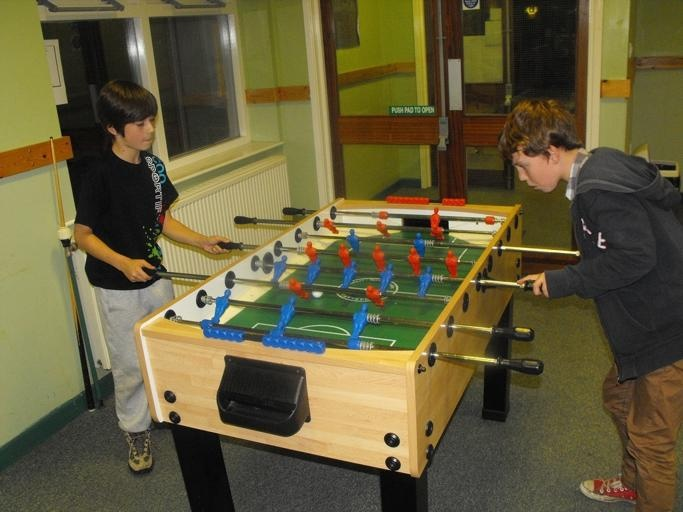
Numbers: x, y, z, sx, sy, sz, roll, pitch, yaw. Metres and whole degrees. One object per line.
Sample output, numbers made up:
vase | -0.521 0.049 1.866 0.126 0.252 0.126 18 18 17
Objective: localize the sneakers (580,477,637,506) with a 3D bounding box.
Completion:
sneakers | 1.214 1.076 2.479 0.248 0.100 0.093 8 23 16

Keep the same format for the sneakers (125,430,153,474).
sneakers | -1.088 1.053 2.873 0.104 0.117 0.296 -3 10 -25

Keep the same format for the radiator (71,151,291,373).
radiator | -0.873 0.034 2.775 0.089 0.847 1.374 11 34 30

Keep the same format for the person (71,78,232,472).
person | -0.963 0.133 2.733 0.617 1.940 0.477 -14 25 -26
